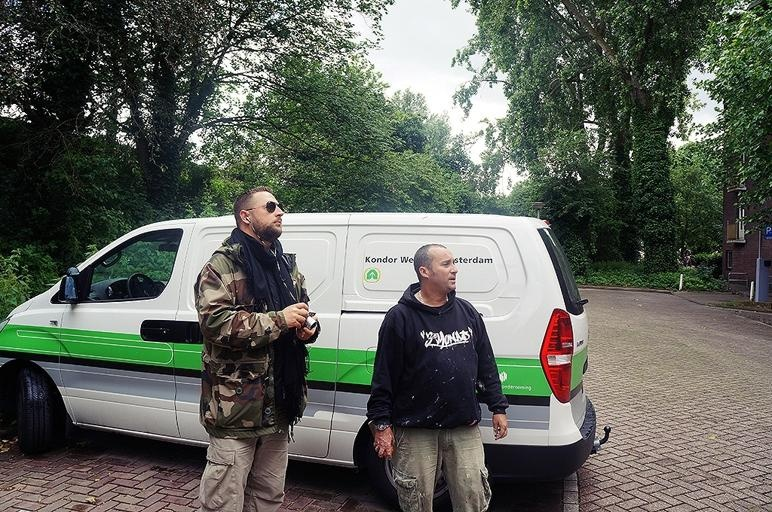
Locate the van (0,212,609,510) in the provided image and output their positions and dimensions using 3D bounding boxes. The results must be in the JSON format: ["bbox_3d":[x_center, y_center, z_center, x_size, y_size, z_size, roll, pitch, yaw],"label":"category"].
[{"bbox_3d":[-0.976,0.562,6.616,6.336,2.412,3.185,3,-2,16],"label":"van"}]

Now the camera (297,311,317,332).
[{"bbox_3d":[-0.664,0.557,4.332,0.172,0.185,0.106,11,-1,-16],"label":"camera"}]
